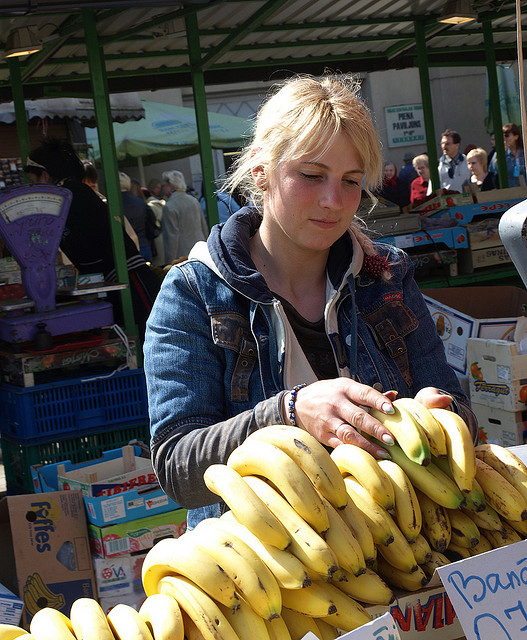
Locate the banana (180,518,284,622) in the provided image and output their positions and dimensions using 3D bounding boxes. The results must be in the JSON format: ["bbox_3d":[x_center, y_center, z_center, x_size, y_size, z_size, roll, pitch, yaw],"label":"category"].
[{"bbox_3d":[-0.047,0.345,0.832,0.094,0.166,0.045,-38,-25,-6],"label":"banana"}]

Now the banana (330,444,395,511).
[{"bbox_3d":[0.171,0.259,0.959,0.034,0.128,0.067,12,62,45],"label":"banana"}]

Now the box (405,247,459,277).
[{"bbox_3d":[1.709,-0.589,5.716,0.649,0.291,0.419,-4,16,-14],"label":"box"}]

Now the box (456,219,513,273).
[{"bbox_3d":[2.510,-0.851,6.567,0.732,0.565,0.223,-12,7,-30],"label":"box"}]

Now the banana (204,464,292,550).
[{"bbox_3d":[-0.025,0.265,0.878,0.055,0.054,0.195,-31,37,-22],"label":"banana"}]

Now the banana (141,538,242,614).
[{"bbox_3d":[-0.098,0.349,0.836,0.041,0.077,0.149,-12,26,-43],"label":"banana"}]

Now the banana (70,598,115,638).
[{"bbox_3d":[-0.230,0.400,0.776,0.039,0.025,0.073,-15,9,-26],"label":"banana"}]

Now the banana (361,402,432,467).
[{"bbox_3d":[0.231,0.201,0.991,0.223,0.064,0.059,-4,-7,-41],"label":"banana"}]

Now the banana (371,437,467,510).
[{"bbox_3d":[0.268,0.263,0.972,0.045,0.167,0.055,-55,-14,7],"label":"banana"}]

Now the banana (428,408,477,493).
[{"bbox_3d":[0.348,0.234,1.052,0.048,0.056,0.172,-5,30,-1],"label":"banana"}]

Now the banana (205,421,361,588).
[{"bbox_3d":[0.005,0.254,0.881,0.172,0.097,0.277,18,21,-45],"label":"banana"}]

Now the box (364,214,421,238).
[{"bbox_3d":[1.393,-1.017,6.133,0.766,0.224,0.270,-13,8,-41],"label":"box"}]

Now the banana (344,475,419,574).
[{"bbox_3d":[0.205,0.322,0.953,0.051,0.182,0.063,-47,-14,14],"label":"banana"}]

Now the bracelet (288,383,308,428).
[{"bbox_3d":[0.064,0.162,1.137,0.018,0.065,0.052,-2,21,24],"label":"bracelet"}]

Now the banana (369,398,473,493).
[{"bbox_3d":[0.288,0.209,1.036,0.116,0.054,0.204,14,25,-12],"label":"banana"}]

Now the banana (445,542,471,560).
[{"bbox_3d":[0.345,0.407,1.009,0.013,0.021,0.044,-51,-3,12],"label":"banana"}]

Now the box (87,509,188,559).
[{"bbox_3d":[-0.612,1.111,2.963,0.459,0.131,0.300,-5,-24,-22],"label":"box"}]

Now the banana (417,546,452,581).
[{"bbox_3d":[0.282,0.402,0.939,0.024,0.026,0.086,-6,-7,26],"label":"banana"}]

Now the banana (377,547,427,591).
[{"bbox_3d":[0.215,0.408,0.949,0.040,0.030,0.113,-7,19,-32],"label":"banana"}]

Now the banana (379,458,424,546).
[{"bbox_3d":[0.229,0.294,0.969,0.048,0.156,0.053,7,-42,-32],"label":"banana"}]

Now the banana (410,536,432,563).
[{"bbox_3d":[0.261,0.375,0.938,0.023,0.017,0.044,-33,43,-3],"label":"banana"}]

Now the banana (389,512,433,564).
[{"bbox_3d":[0.251,0.368,0.945,0.021,0.060,0.017,20,-61,-46],"label":"banana"}]

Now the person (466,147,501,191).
[{"bbox_3d":[3.369,-2.131,8.705,0.526,0.875,0.433,-1,10,12],"label":"person"}]

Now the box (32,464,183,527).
[{"bbox_3d":[-0.755,0.890,2.820,0.655,0.217,0.654,0,-6,-36],"label":"box"}]

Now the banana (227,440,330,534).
[{"bbox_3d":[0.026,0.246,0.890,0.083,0.159,0.040,-32,-35,1],"label":"banana"}]

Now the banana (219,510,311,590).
[{"bbox_3d":[0.003,0.302,0.824,0.039,0.124,0.033,-26,29,44],"label":"banana"}]

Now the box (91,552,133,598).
[{"bbox_3d":[-0.781,1.282,2.871,0.190,0.168,0.185,7,-24,-31],"label":"box"}]
